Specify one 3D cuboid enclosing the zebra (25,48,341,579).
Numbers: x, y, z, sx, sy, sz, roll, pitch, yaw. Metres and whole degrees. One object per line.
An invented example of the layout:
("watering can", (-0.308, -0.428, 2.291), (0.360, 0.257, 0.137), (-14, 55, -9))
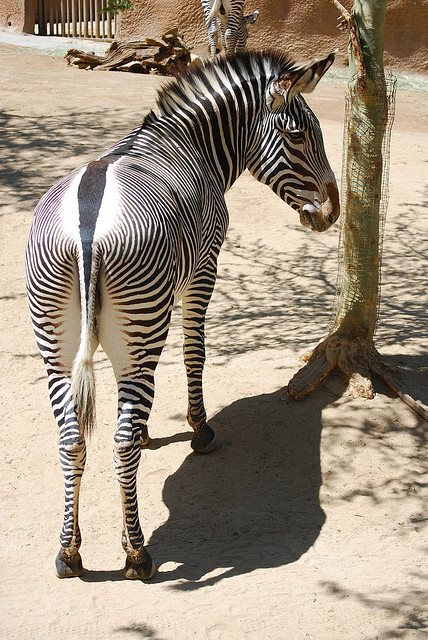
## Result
("zebra", (-0.215, -0.142, 3.713), (0.855, 2.268, 1.569), (16, 20, 26))
